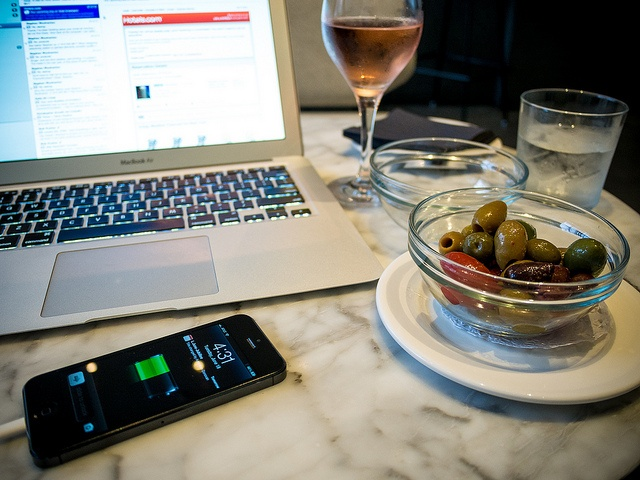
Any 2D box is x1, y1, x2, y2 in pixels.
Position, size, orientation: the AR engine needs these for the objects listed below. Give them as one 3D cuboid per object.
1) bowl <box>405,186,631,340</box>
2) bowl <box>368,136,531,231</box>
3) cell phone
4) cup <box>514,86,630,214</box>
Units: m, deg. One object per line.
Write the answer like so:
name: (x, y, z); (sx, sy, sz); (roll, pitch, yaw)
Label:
bowl: (0.188, 0.022, 0.540); (0.204, 0.081, 0.195); (-1, 29, 0)
bowl: (0.191, -0.112, 0.738); (0.186, 0.078, 0.177); (-1, 24, 1)
cell phone: (-0.152, 0.144, 0.489); (0.222, 0.022, 0.102); (-11, 33, -23)
cup: (0.399, -0.141, 0.808); (0.160, 0.168, 0.159); (1, 19, 0)
